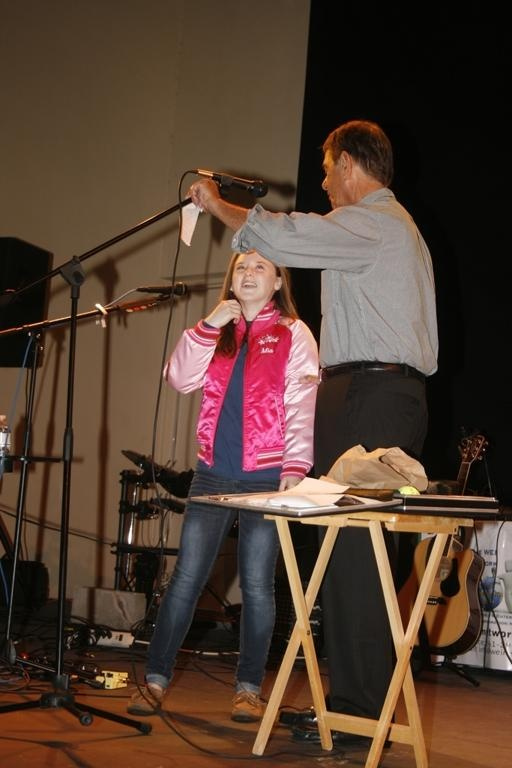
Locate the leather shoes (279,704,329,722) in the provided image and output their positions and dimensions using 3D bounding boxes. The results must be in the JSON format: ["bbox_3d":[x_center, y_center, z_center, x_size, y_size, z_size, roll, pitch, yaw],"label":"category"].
[{"bbox_3d":[0.129,0.951,2.035,0.117,0.046,0.114,2,-10,-8],"label":"leather shoes"}]

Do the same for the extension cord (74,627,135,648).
[{"bbox_3d":[-0.659,1.117,3.114,0.174,0.057,0.124,4,-7,-14],"label":"extension cord"}]

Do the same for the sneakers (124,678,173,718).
[{"bbox_3d":[-0.312,0.886,1.992,0.057,0.059,0.143,3,-12,9],"label":"sneakers"}]

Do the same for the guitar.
[{"bbox_3d":[0.853,0.682,3.075,0.121,0.917,0.376,21,-9,-36],"label":"guitar"}]

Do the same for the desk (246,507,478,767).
[{"bbox_3d":[0.221,0.593,1.648,0.431,0.626,0.522,9,-7,-9],"label":"desk"}]
